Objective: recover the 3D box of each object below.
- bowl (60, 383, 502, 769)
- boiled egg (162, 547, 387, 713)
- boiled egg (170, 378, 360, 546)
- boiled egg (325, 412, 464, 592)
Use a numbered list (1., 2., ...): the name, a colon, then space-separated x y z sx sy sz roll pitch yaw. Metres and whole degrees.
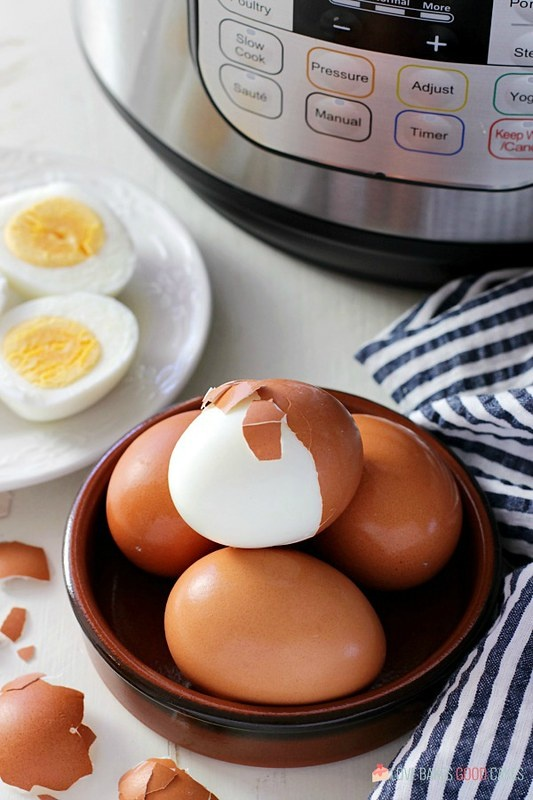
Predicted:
1. bowl: -0.009 0.080 0.296 0.142 0.052 0.140 10 34 -7
2. boiled egg: 0.004 0.081 0.250 0.071 0.051 0.050 9 38 3
3. boiled egg: 0.000 0.021 0.246 0.068 0.048 0.043 -4 29 -8
4. boiled egg: 0.049 0.041 0.319 0.053 0.051 0.068 -1 44 -2
